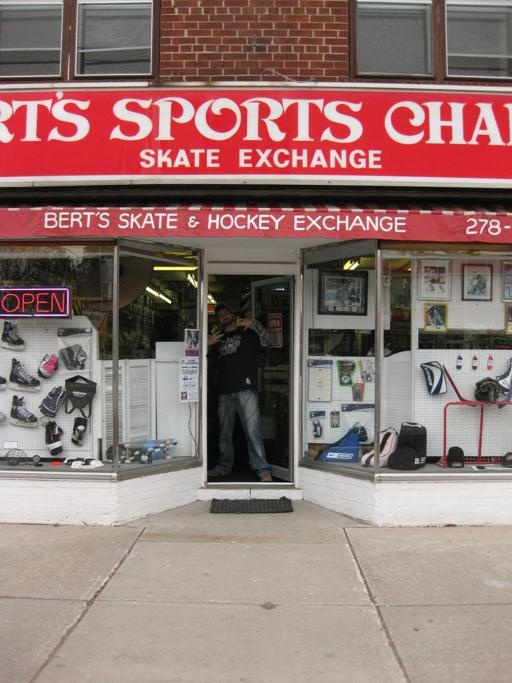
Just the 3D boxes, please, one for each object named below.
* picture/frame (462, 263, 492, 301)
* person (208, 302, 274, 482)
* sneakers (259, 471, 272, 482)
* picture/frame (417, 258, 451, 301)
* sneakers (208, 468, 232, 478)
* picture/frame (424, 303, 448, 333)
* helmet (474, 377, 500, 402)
[{"bbox_3d":[2.123,-0.576,7.585,0.359,0.450,0.018,1,-5,-8],"label":"picture/frame"},{"bbox_3d":[-0.187,0.545,8.235,0.671,1.753,0.490,0,5,4],"label":"person"},{"bbox_3d":[0.092,1.394,8.099,0.099,0.072,0.158,1,-5,-2],"label":"sneakers"},{"bbox_3d":[1.693,-0.600,7.534,0.404,0.508,0.039,0,-4,-6],"label":"picture/frame"},{"bbox_3d":[-0.380,1.392,8.267,0.251,0.102,0.085,5,-3,-30],"label":"sneakers"},{"bbox_3d":[1.720,-0.225,7.543,0.280,0.327,0.023,0,-3,-4],"label":"picture/frame"},{"bbox_3d":[2.220,0.466,7.578,0.177,0.243,0.119,1,-5,0],"label":"helmet"}]
